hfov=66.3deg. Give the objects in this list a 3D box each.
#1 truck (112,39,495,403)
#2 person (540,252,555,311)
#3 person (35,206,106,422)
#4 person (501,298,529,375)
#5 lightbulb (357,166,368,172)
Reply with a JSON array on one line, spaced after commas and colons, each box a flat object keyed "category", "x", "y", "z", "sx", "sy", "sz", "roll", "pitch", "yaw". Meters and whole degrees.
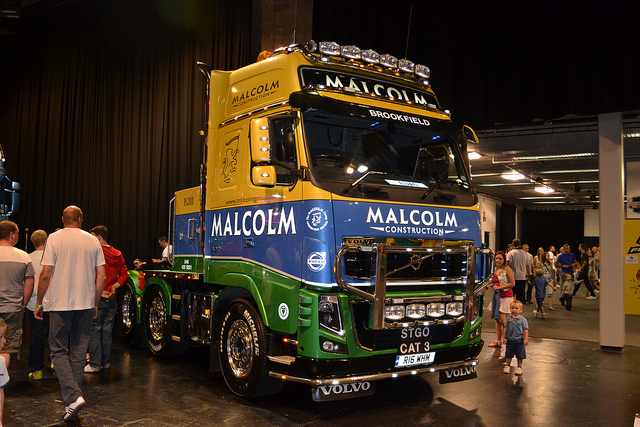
[{"category": "truck", "x": -1.421, "y": 0.268, "z": 10.931, "sx": 3.832, "sy": 5.665, "sz": 10.111, "roll": 3, "pitch": -5, "yaw": -35}, {"category": "person", "x": 8.312, "y": 2.439, "z": 17.773, "sx": 0.597, "sy": 2.075, "sz": 0.590, "roll": -2, "pitch": -1, "yaw": -11}, {"category": "person", "x": -3.510, "y": 1.334, "z": 6.902, "sx": 0.862, "sy": 2.108, "sz": 0.912, "roll": 2, "pitch": -1, "yaw": -31}, {"category": "person", "x": 3.658, "y": 2.236, "z": 9.200, "sx": 0.437, "sy": 1.383, "sz": 1.533, "roll": 1, "pitch": -1, "yaw": 23}, {"category": "lightbulb", "x": 0.613, "y": -0.638, "z": 7.020, "sx": 0.158, "sy": 0.092, "sz": 0.049, "roll": 2, "pitch": -1, "yaw": -24}]
